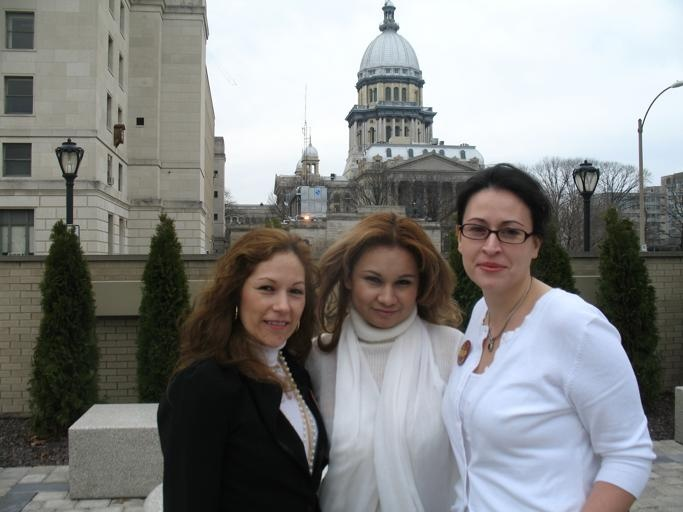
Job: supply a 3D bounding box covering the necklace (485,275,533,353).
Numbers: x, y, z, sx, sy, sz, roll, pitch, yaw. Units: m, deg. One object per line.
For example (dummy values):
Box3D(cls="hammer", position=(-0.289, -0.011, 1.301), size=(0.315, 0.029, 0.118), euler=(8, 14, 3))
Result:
Box3D(cls="necklace", position=(1.524, 0.618, 7.481), size=(0.165, 0.780, 0.379), euler=(11, 17, -7))
